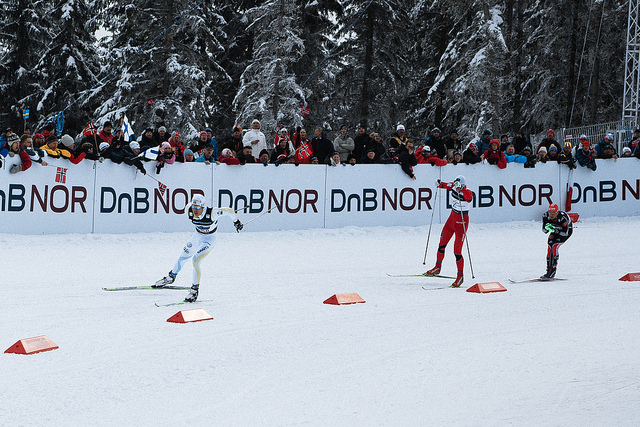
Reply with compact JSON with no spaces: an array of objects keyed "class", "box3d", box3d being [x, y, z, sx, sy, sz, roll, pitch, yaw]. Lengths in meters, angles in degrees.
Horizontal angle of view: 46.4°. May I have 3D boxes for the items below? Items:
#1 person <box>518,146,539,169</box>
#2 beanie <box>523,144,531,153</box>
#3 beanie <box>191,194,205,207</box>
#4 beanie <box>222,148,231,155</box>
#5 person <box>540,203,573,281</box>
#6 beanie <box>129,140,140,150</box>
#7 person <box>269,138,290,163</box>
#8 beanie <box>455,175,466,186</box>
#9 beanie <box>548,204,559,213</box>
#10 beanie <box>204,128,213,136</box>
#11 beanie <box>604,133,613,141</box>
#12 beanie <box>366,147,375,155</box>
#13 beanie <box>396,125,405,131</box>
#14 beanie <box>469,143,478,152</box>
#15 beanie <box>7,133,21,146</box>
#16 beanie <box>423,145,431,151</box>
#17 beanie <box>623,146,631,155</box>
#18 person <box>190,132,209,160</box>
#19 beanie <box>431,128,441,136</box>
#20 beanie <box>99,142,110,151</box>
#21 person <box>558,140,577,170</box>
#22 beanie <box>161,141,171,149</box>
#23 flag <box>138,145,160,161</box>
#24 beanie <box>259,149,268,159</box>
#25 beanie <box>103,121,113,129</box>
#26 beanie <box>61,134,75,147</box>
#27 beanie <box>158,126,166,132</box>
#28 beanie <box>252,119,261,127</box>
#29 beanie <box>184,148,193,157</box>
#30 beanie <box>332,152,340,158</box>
[{"class":"person","box3d":[6.948,-1.873,24.908,0.625,0.658,0.722,10,16,33]},{"class":"beanie","box3d":[7.024,-2.198,25.021,0.269,0.281,0.272,2,-3,-5]},{"class":"beanie","box3d":[-2.636,-0.305,16.366,0.212,0.262,0.298,21,15,27]},{"class":"beanie","box3d":[-2.873,-1.927,22.749,0.177,0.197,0.154,44,11,5]},{"class":"person","box3d":[5.841,0.643,18.387,0.666,1.715,1.377,4,14,17]},{"class":"beanie","box3d":[-5.312,-1.983,21.501,0.266,0.257,0.208,-4,17,5]},{"class":"person","box3d":[-1.244,-2.012,23.316,0.716,0.718,0.510,-4,14,-19]},{"class":"beanie","box3d":[3.497,-0.867,18.313,0.277,0.349,0.340,-2,-18,4]},{"class":"beanie","box3d":[5.787,-0.162,18.464,0.216,0.194,0.353,4,14,14]},{"class":"beanie","box3d":[-3.458,-2.560,23.174,0.194,0.199,0.251,-6,16,-32]},{"class":"beanie","box3d":[9.813,-2.622,25.238,0.226,0.156,0.159,9,18,27]},{"class":"beanie","box3d":[1.644,-2.044,24.122,0.269,0.166,0.400,2,14,5]},{"class":"beanie","box3d":[2.614,-2.777,23.968,0.158,0.173,0.213,1,-2,-42]},{"class":"beanie","box3d":[5.105,-2.209,24.664,0.311,0.266,0.233,0,14,-4]},{"class":"beanie","box3d":[-8.375,-2.026,20.334,0.326,0.325,0.310,-2,9,4]},{"class":"beanie","box3d":[3.409,-2.102,23.783,0.181,0.102,0.275,1,7,-11]},{"class":"beanie","box3d":[10.578,-2.143,25.573,0.271,0.318,0.380,-2,17,9]},{"class":"person","box3d":[-3.709,-2.163,23.110,0.522,0.774,0.988,-3,14,-13]},{"class":"beanie","box3d":[3.798,-2.658,24.157,0.231,0.295,0.482,1,14,2]},{"class":"beanie","box3d":[-6.271,-1.989,21.668,0.220,0.199,0.177,3,5,-3]},{"class":"person","box3d":[8.305,-1.970,24.919,0.612,0.943,0.347,5,14,17]},{"class":"beanie","box3d":[-4.493,-2.026,21.759,0.157,0.180,0.201,-1,-6,-36]},{"class":"flag","box3d":[-4.979,-1.767,21.693,0.597,0.370,0.164,-3,14,-14]},{"class":"beanie","box3d":[-1.748,-1.890,23.115,0.227,0.169,0.234,7,7,9]},{"class":"beanie","box3d":[-6.213,-2.614,21.857,0.197,0.159,0.203,-3,-4,43]},{"class":"beanie","box3d":[-7.164,-2.083,21.090,0.335,0.284,0.245,-12,17,-6]},{"class":"beanie","box3d":[-4.710,-2.558,22.298,0.132,0.108,0.137,5,4,34]},{"class":"beanie","box3d":[-2.018,-2.825,23.187,0.239,0.169,0.324,1,15,-1]},{"class":"beanie","box3d":[-3.997,-1.896,22.705,0.244,0.180,0.370,-2,14,-10]},{"class":"beanie","box3d":[0.506,-1.870,23.656,0.198,0.145,0.202,1,-2,-2]}]
